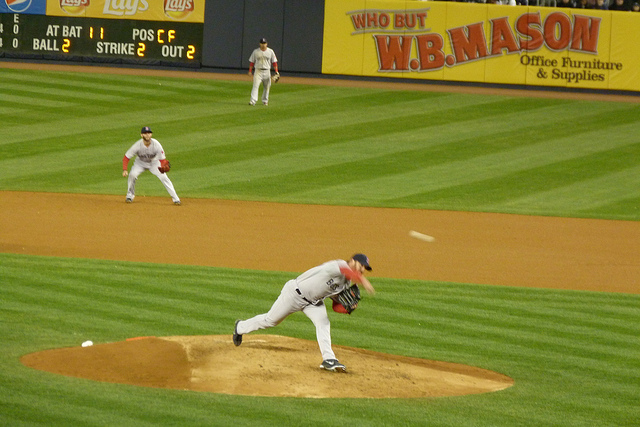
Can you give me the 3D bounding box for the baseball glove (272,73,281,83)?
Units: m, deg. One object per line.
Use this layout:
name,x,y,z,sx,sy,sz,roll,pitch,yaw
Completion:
baseball glove,-1.454,-4.556,39.121,0.185,0.247,0.577,2,-7,-1

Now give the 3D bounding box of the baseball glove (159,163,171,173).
baseball glove,-4.163,-1.254,31.488,0.250,0.268,0.213,-18,56,-20

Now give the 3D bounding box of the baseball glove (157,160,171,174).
baseball glove,-4.204,-1.232,31.516,0.297,0.358,0.450,-1,6,-15
